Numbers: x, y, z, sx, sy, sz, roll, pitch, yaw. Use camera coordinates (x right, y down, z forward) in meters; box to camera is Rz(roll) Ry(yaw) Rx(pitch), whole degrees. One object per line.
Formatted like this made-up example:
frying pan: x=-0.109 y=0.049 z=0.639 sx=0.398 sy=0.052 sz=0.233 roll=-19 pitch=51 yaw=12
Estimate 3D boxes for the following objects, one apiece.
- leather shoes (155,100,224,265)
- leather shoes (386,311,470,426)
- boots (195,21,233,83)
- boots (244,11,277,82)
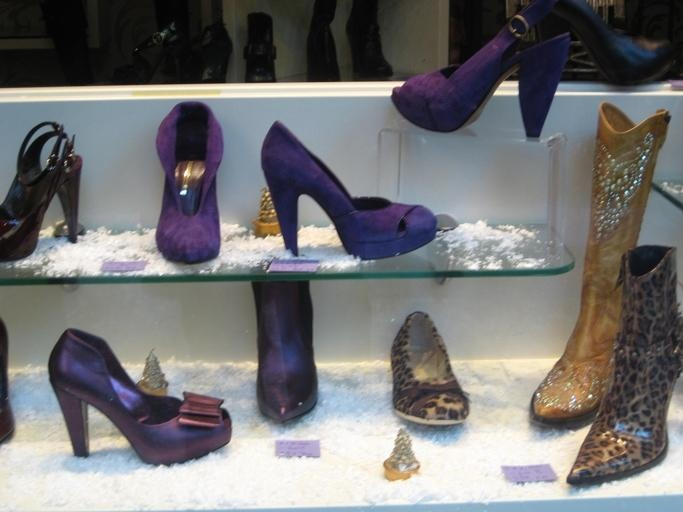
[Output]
leather shoes: x=-0.286 y=-0.130 z=1.193 sx=0.120 sy=0.124 sz=0.357 roll=1 pitch=59 yaw=-10
leather shoes: x=0.176 y=0.222 z=1.234 sx=0.101 sy=0.090 sz=0.224 roll=-2 pitch=26 yaw=-5
boots: x=-0.268 y=-0.422 z=1.266 sx=0.048 sy=0.148 sz=0.050 roll=7 pitch=12 yaw=-8
boots: x=-0.174 y=-0.428 z=1.264 sx=0.048 sy=0.162 sz=0.059 roll=0 pitch=2 yaw=-4
